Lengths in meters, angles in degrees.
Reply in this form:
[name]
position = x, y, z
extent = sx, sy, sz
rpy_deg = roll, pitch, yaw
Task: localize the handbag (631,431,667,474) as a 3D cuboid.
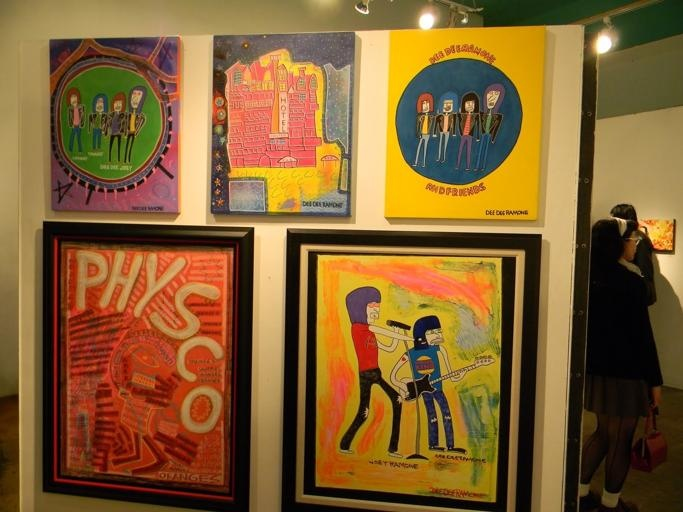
[handbag]
position = 1.881, 1.132, 3.711
extent = 0.267, 0.287, 0.097
rpy_deg = -3, 4, -38
